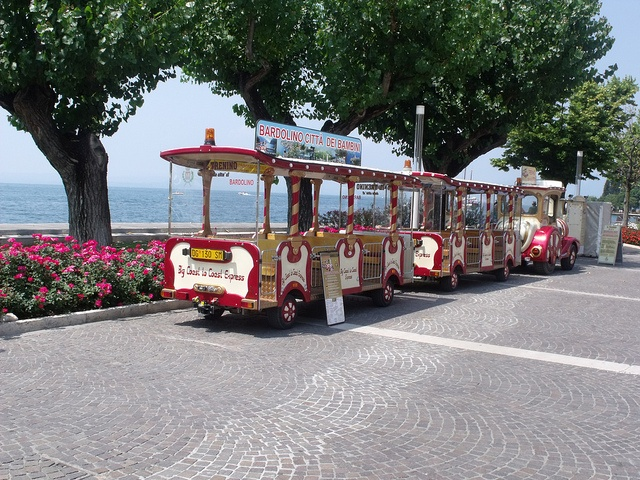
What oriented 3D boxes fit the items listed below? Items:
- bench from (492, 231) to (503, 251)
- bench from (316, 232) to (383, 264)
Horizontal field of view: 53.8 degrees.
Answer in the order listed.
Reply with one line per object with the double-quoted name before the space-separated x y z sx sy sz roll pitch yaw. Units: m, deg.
"bench" 5.732 0.015 20.451 0.557 0.792 0.052 -9 13 -39
"bench" 0.817 0.187 14.475 0.718 0.527 1.380 1 -1 24
